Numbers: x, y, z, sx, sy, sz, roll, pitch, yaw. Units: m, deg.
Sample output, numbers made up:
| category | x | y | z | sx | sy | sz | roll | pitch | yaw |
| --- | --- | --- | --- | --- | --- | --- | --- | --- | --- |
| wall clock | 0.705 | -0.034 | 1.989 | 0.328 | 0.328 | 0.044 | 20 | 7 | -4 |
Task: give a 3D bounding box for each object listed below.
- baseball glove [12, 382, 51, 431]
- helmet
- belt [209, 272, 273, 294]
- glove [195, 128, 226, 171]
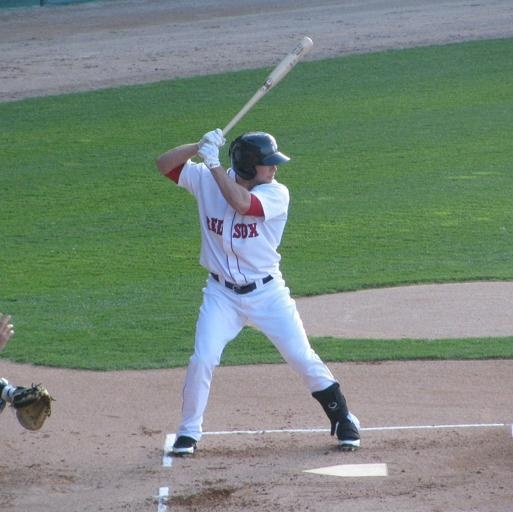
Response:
| category | x | y | z | sx | sy | sz | roll | pitch | yaw |
| --- | --- | --- | --- | --- | --- | --- | --- | --- | --- |
| baseball glove | -2.524 | 1.763 | 16.959 | 0.447 | 0.542 | 0.193 | -10 | 17 | -10 |
| helmet | -0.007 | -1.114 | 17.001 | 0.621 | 0.506 | 0.263 | -7 | 17 | -2 |
| belt | -0.138 | 0.337 | 16.993 | 0.598 | 0.195 | 0.133 | -6 | 17 | 0 |
| glove | -0.522 | -1.184 | 16.843 | 0.307 | 0.414 | 0.499 | -7 | 16 | -1 |
